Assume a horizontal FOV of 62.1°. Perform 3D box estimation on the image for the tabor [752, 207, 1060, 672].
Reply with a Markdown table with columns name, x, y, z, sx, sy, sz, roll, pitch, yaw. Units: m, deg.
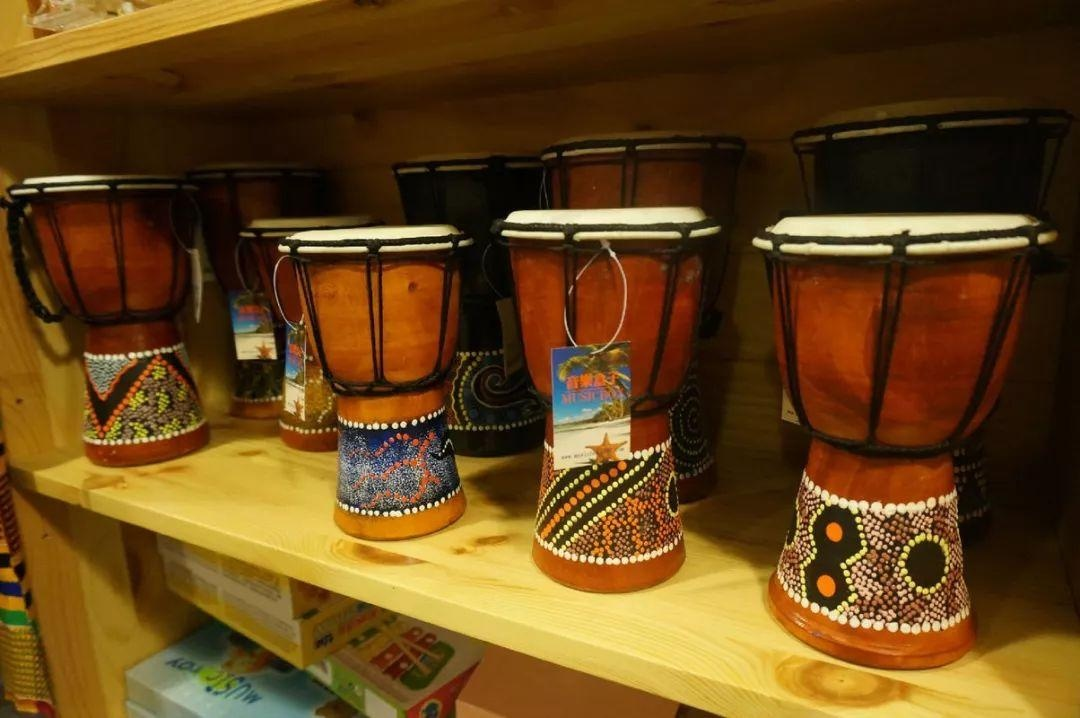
| name | x | y | z | sx | sy | sz | roll | pitch | yaw |
| --- | --- | --- | --- | --- | --- | --- | --- | --- | --- |
| tabor | 0.527 | 0.123 | 1.408 | 0.432 | 0.628 | 0.405 | -3 | 9 | -31 |

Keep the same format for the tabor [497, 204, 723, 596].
| name | x | y | z | sx | sy | sz | roll | pitch | yaw |
| --- | --- | --- | --- | --- | --- | --- | --- | --- | --- |
| tabor | 0.115 | 0.061 | 1.415 | 0.335 | 0.581 | 0.215 | -3 | 20 | -1 |
